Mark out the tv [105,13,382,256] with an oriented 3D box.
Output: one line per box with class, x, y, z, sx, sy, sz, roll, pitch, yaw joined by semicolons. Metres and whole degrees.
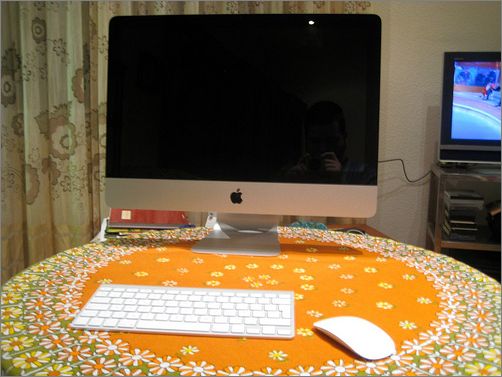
tv;-0.025;-0.169;1.049;0.659;0.589;0.191;1;5;3
